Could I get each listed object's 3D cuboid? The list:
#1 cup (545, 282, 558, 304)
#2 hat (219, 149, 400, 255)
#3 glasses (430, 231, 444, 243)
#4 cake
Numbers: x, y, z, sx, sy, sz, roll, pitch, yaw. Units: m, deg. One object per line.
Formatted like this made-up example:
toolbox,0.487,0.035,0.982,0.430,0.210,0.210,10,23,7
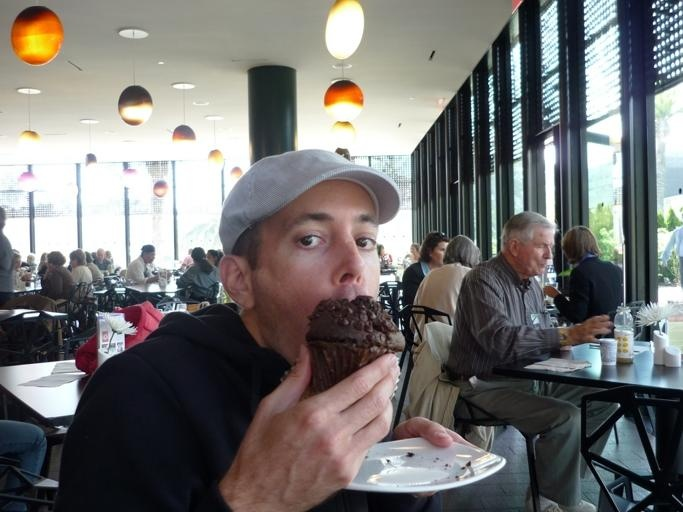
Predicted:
cup,1.813,0.322,4.853,0.101,0.121,0.210,-15,14,2
hat,-0.117,-0.153,1.520,0.345,0.232,0.486,-10,3,25
glasses,1.008,-0.177,5.845,0.060,0.139,0.124,8,7,-19
cake,0.014,0.187,1.216,0.204,0.217,0.203,6,0,-20
